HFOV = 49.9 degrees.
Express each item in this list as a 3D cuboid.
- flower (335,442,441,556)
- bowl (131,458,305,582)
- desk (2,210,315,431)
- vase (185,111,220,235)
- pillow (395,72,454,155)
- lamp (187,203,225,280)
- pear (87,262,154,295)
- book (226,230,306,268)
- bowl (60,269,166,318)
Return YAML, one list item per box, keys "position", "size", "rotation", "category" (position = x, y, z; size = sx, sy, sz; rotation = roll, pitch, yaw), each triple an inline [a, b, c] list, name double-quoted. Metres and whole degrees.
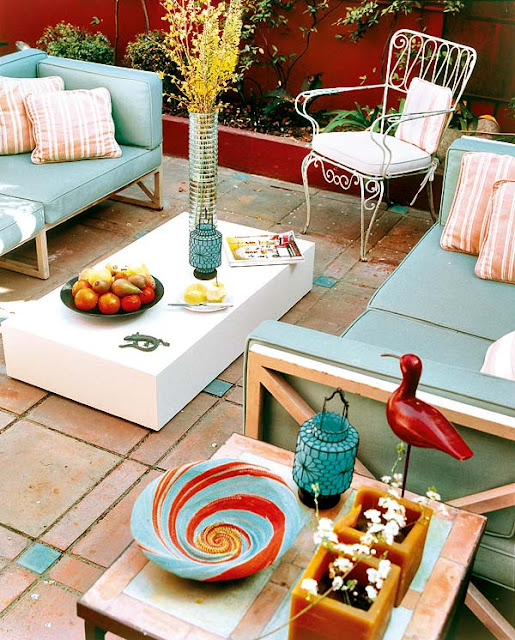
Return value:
- position: [0.241, 0.327, 1.009]
  size: [0.222, 0.119, 0.191]
  rotation: [19, 39, 25]
  category: "flower"
- position: [-0.078, 0.354, 0.978]
  size: [0.237, 0.058, 0.210]
  rotation: [1, 31, -1]
  category: "bowl"
- position: [-0.415, 0.008, 2.244]
  size: [0.913, 0.367, 1.376]
  rotation: [20, 36, 25]
  category: "desk"
- position: [-0.276, -0.747, 2.800]
  size: [0.163, 0.583, 0.158]
  rotation: [24, 35, 36]
  category: "vase"
- position: [0.998, -1.245, 3.333]
  size: [0.328, 0.529, 0.348]
  rotation: [-23, 41, -28]
  category: "pillow"
- position: [-0.209, -0.343, 2.478]
  size: [0.163, 0.283, 0.147]
  rotation: [-10, 39, -14]
  category: "lamp"
- position: [-0.544, -0.162, 2.140]
  size: [0.178, 0.059, 0.161]
  rotation: [8, 21, 8]
  category: "pear"
- position: [0.035, -0.353, 2.785]
  size: [0.367, 0.043, 0.252]
  rotation: [-7, 32, -13]
  category: "book"
- position: [-0.650, -0.090, 2.211]
  size: [0.263, 0.052, 0.231]
  rotation: [5, 32, -2]
  category: "bowl"
